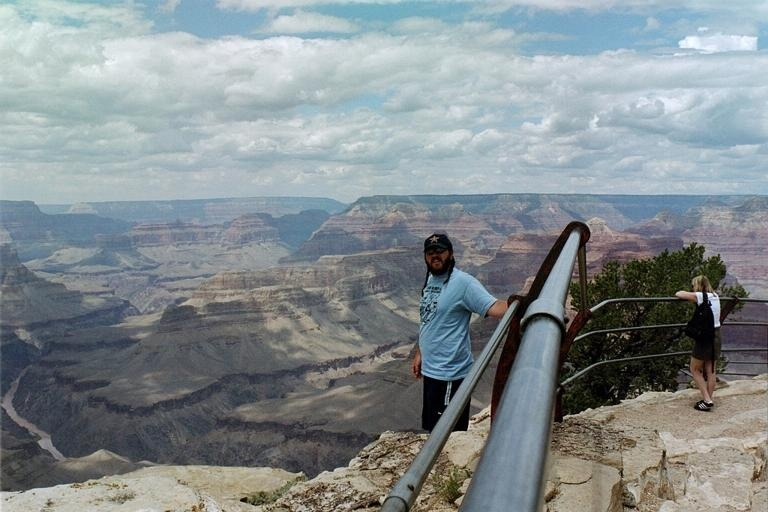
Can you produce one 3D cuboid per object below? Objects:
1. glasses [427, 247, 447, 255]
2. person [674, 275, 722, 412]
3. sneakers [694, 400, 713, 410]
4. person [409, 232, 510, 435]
[{"bbox_3d":[0.615,-0.065,7.285,0.124,0.049,0.150,-9,-27,16],"label":"glasses"},{"bbox_3d":[4.699,1.285,8.964,0.517,1.924,1.060,-2,11,30],"label":"person"},{"bbox_3d":[4.592,2.186,8.704,0.119,0.108,0.255,3,-5,2],"label":"sneakers"},{"bbox_3d":[0.809,1.074,7.315,1.047,2.720,1.318,-7,10,0],"label":"person"}]
